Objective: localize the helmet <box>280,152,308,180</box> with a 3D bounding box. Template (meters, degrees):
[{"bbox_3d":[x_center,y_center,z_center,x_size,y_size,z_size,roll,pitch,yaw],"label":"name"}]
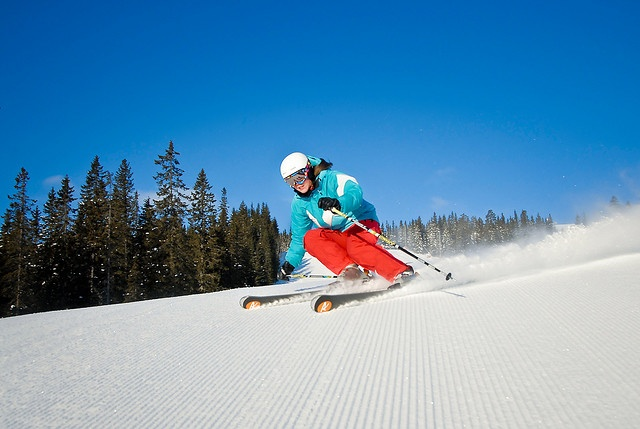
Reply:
[{"bbox_3d":[-0.485,-0.867,7.150,0.452,0.513,0.579,9,-8,-21],"label":"helmet"}]

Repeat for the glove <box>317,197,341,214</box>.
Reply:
[{"bbox_3d":[0.186,-0.180,6.581,0.422,0.182,0.210,-2,1,-32],"label":"glove"}]

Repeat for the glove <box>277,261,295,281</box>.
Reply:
[{"bbox_3d":[-0.670,0.986,7.121,0.213,0.351,0.353,31,-3,8],"label":"glove"}]
